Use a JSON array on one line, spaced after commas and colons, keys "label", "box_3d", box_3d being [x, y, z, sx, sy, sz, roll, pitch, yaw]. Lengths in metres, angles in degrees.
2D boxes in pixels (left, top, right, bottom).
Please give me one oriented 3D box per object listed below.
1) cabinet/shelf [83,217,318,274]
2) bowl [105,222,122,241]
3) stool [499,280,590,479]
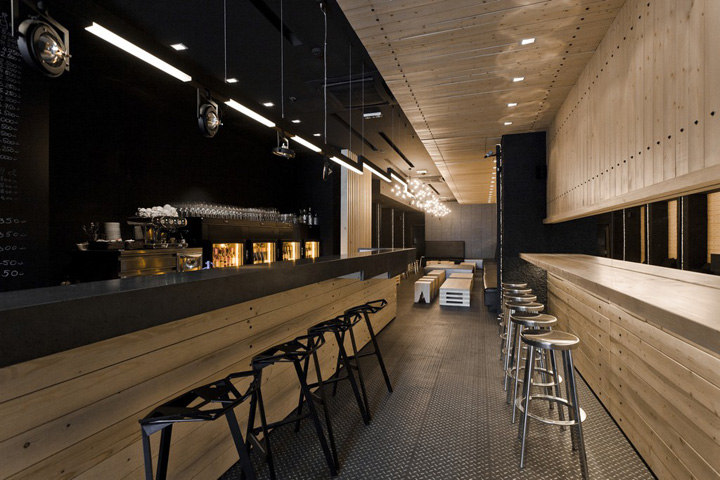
[{"label": "cabinet/shelf", "box_3d": [-2.187, -0.012, 7.739, 0.819, 0.870, 4.427, 0, 1, 24]}, {"label": "bowl", "box_3d": [-3.293, -0.125, 6.187, 0.249, 0.304, 0.246, 1, 4, 0]}, {"label": "stool", "box_3d": [1.946, 1.516, 4.853, 0.482, 0.907, 1.674, 0, -3, 11]}]
